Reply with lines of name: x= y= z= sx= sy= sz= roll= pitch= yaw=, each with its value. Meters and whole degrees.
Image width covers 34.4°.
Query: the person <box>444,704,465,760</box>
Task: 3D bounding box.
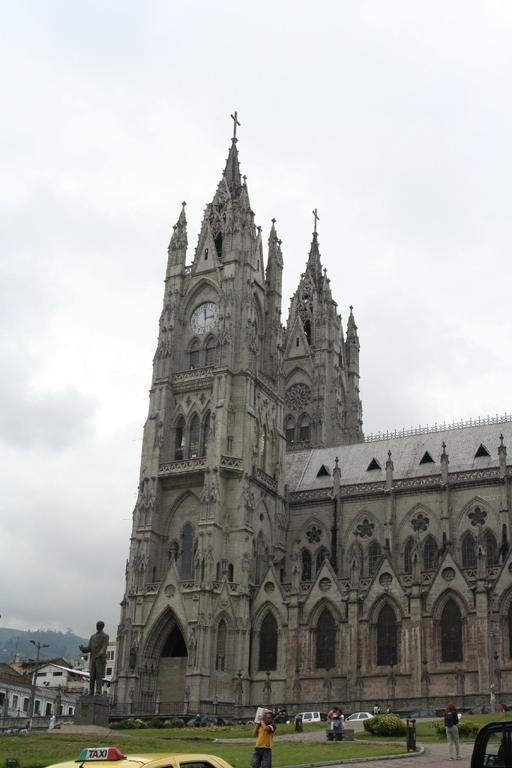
person: x=4.999 y=8.777 z=21.030 sx=0.341 sy=1.243 sz=1.408 roll=-2 pitch=-19 yaw=12
